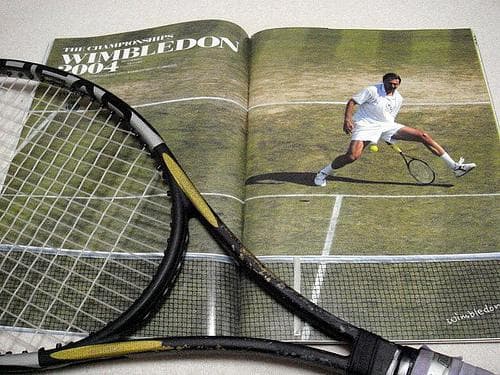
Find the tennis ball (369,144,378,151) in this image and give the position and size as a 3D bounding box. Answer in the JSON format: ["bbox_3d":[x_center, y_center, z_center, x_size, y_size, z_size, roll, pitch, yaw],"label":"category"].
[{"bbox_3d":[0.312,-0.100,1.835,0.018,0.017,0.017,-8,-4,-1],"label":"tennis ball"}]
